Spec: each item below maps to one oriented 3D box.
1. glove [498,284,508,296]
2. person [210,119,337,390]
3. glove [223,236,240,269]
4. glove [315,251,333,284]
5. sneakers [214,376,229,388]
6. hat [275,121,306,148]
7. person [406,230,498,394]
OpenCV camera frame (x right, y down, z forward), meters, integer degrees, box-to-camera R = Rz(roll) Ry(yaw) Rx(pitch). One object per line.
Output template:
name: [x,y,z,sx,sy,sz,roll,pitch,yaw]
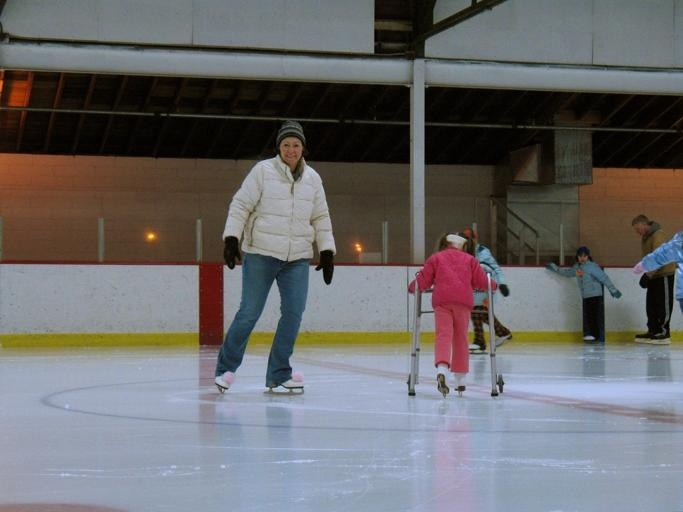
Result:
glove: [1.990,0.435,15.180,0.101,0.048,0.173,10,16,-17]
person: [-0.706,0.055,13.029,1.291,2.877,0.703,-2,9,-7]
glove: [-1.131,-0.002,12.966,0.249,0.363,0.161,6,-26,-14]
glove: [-0.183,0.132,13.175,0.218,0.313,0.144,-4,-3,-6]
sneakers: [-1.247,1.331,13.018,0.151,0.150,0.106,-1,10,-4]
hat: [-0.533,-1.338,13.105,0.331,0.346,0.366,2,-6,-4]
person: [1.159,0.665,13.106,0.876,1.690,0.948,0,9,3]
